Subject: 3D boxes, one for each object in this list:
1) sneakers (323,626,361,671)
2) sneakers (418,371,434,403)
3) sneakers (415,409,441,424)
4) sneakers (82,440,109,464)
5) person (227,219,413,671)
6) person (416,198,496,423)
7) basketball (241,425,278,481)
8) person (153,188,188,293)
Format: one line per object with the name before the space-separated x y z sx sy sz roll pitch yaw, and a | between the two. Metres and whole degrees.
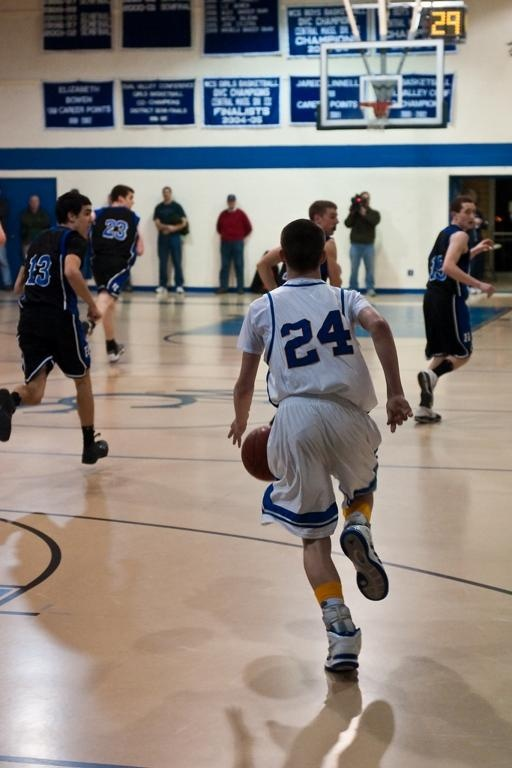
sneakers | 0.232 0.702 1.728 0.099 0.111 0.097 0 3 -1
sneakers | 1.367 0.034 5.222 0.099 0.296 0.126 -1 0 21
sneakers | 1.396 0.258 5.300 0.089 0.108 0.248 -2 -3 39
sneakers | -0.996 0.423 4.026 0.065 0.133 0.182 9 37 19
person | 0.213 0.122 1.950 0.385 1.245 0.557 -3 4 -38
person | 1.639 -0.595 5.422 0.567 1.814 0.765 1 4 18
basketball | 0.040 0.231 2.183 0.168 0.195 0.165 1 -14 10
person | -2.306 -3.880 17.745 0.914 2.820 0.915 0 3 -1
